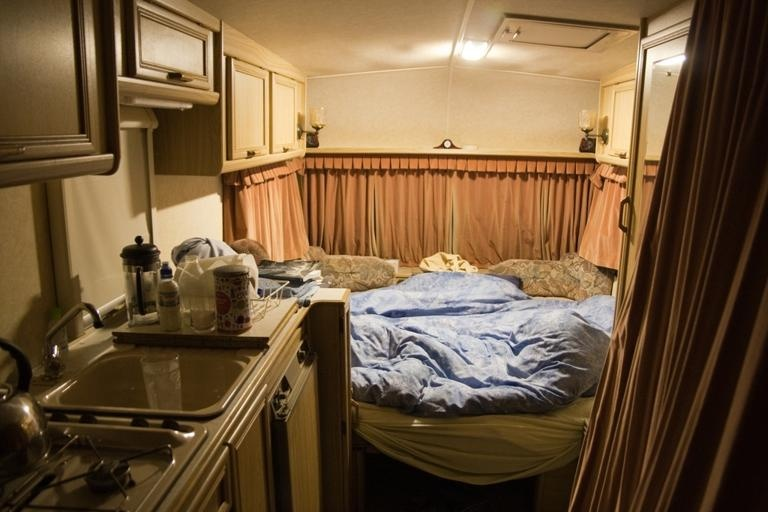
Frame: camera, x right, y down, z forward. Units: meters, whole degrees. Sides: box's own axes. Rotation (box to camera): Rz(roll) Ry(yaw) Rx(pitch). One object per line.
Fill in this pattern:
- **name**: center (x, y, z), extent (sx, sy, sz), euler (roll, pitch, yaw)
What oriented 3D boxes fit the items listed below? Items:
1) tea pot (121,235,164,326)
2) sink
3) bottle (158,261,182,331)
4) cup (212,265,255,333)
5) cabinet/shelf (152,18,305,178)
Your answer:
- **tea pot**: center (-0.847, 0.079, 1.936), extent (0.122, 0.304, 0.160), euler (-6, 14, -26)
- **sink**: center (-0.746, 0.402, 1.720), extent (0.359, 0.142, 0.266), euler (2, 7, 4)
- **bottle**: center (-0.743, 0.141, 1.901), extent (0.077, 0.232, 0.090), euler (-5, 14, -23)
- **cup**: center (-0.523, 0.147, 1.921), extent (0.118, 0.223, 0.127), euler (0, 12, 0)
- **cabinet/shelf**: center (-1.105, -0.926, 3.183), extent (0.447, 0.746, 1.528), euler (-4, 23, -19)
